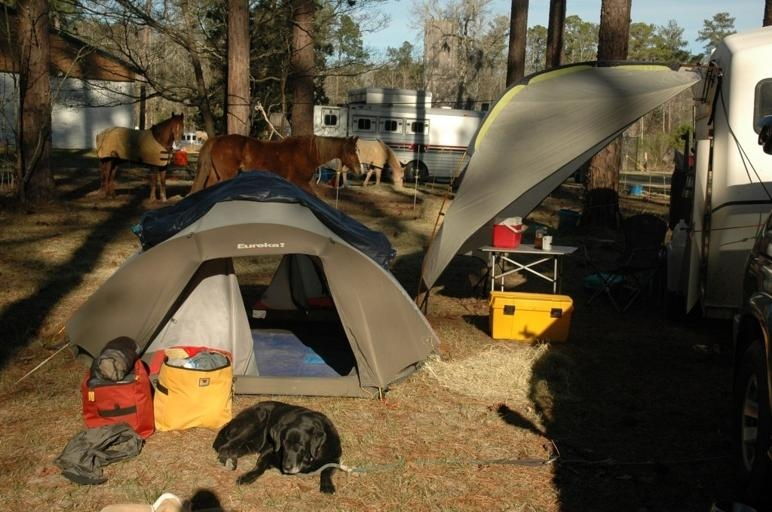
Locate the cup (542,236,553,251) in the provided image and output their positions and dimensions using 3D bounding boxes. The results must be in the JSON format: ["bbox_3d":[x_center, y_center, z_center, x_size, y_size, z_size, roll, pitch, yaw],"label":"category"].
[{"bbox_3d":[2.414,-0.206,9.769,0.152,0.221,0.464,5,14,14],"label":"cup"}]

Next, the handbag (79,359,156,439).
[{"bbox_3d":[-2.866,1.466,6.863,0.772,0.791,0.450,-4,2,15],"label":"handbag"}]

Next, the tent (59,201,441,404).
[{"bbox_3d":[-1.545,0.347,8.621,3.076,1.434,2.707,3,8,-2],"label":"tent"}]

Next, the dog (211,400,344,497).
[{"bbox_3d":[-1.056,1.835,6.456,1.321,0.455,0.796,4,14,9],"label":"dog"}]

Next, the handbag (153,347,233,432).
[{"bbox_3d":[-2.068,1.433,7.197,0.751,0.719,0.924,10,11,37],"label":"handbag"}]

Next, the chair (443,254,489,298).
[{"bbox_3d":[1.387,0.371,11.394,0.812,0.332,0.638,2,7,18],"label":"chair"}]
